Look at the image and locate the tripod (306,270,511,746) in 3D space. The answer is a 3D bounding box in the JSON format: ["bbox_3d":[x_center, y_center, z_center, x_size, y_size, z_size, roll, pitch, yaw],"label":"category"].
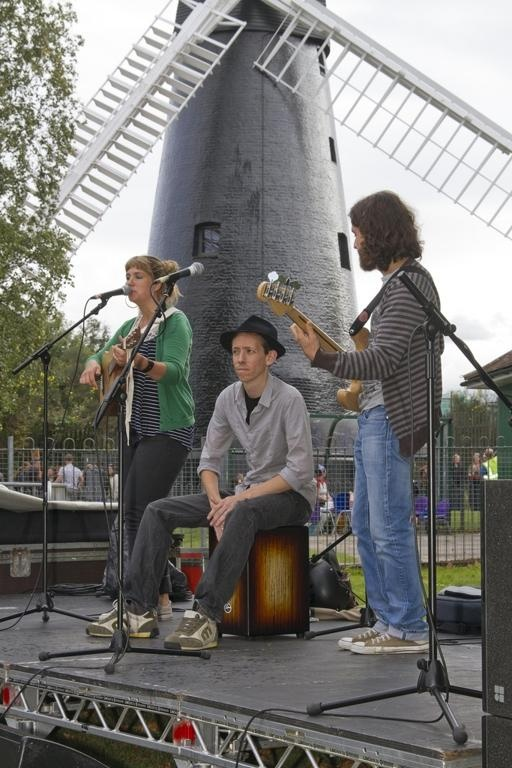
[{"bbox_3d":[0.550,0.272,2.800,0.470,1.471,0.779,-6,-10,32],"label":"tripod"}]

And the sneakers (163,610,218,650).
[{"bbox_3d":[-0.260,1.076,3.797,0.111,0.123,0.295,-4,-16,22],"label":"sneakers"}]

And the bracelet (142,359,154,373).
[{"bbox_3d":[-0.517,-0.088,4.271,0.041,0.059,0.061,28,-29,-27],"label":"bracelet"}]

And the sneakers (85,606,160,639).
[{"bbox_3d":[-0.594,1.120,4.138,0.426,0.172,0.136,3,-12,-2],"label":"sneakers"}]

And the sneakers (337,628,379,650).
[{"bbox_3d":[0.462,1.119,3.847,0.212,0.076,0.072,2,-5,-23],"label":"sneakers"}]
